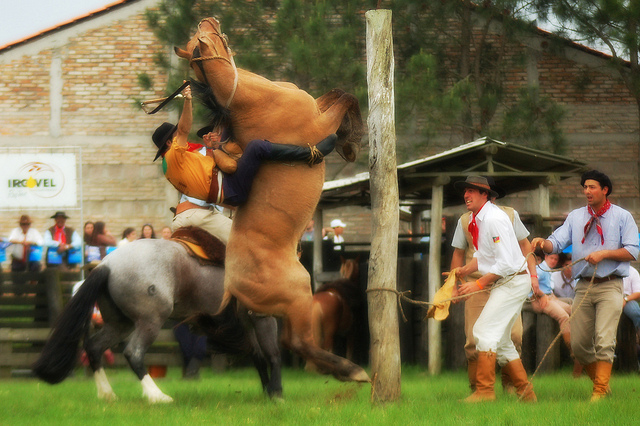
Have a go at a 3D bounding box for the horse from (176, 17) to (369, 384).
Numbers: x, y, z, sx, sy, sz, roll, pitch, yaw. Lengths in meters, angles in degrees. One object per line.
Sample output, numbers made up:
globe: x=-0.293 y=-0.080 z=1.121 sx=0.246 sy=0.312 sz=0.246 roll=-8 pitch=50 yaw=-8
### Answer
horse: x=-1.017 y=-0.262 z=35.445 sx=3.158 sy=6.936 sz=1.170 roll=1 pitch=-4 yaw=-5

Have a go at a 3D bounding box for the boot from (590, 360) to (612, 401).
boot: x=5.523 y=3.310 z=35.794 sx=0.461 sy=0.784 sz=0.316 roll=1 pitch=-5 yaw=-11

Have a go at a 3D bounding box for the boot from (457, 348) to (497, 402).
boot: x=3.165 y=3.203 z=35.757 sx=0.592 sy=1.046 sz=0.352 roll=0 pitch=-4 yaw=4

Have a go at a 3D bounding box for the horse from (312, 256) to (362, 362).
horse: x=0.424 y=2.406 z=40.704 sx=0.722 sy=1.967 sz=2.789 roll=-5 pitch=4 yaw=27

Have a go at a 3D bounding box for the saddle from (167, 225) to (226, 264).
saddle: x=-2.804 y=0.596 z=36.247 sx=1.117 sy=0.409 sz=0.861 roll=41 pitch=23 yaw=31

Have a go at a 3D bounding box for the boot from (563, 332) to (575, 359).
boot: x=5.175 y=2.740 z=37.612 sx=0.152 sy=0.691 sz=0.387 roll=-11 pitch=0 yaw=16

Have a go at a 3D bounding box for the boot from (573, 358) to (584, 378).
boot: x=5.375 y=3.271 z=37.812 sx=0.131 sy=0.494 sz=0.267 roll=-5 pitch=20 yaw=-7

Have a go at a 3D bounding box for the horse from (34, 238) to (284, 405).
horse: x=-1.817 y=2.042 z=38.063 sx=8.114 sy=4.557 sz=2.099 roll=0 pitch=-3 yaw=-18
